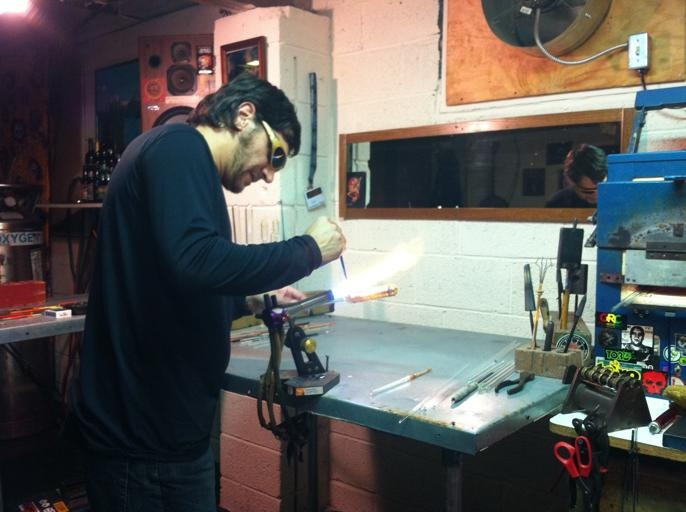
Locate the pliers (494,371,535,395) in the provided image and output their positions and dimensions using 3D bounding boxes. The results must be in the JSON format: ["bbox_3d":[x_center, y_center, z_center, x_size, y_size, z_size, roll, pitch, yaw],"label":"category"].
[{"bbox_3d":[0.566,0.408,1.877,0.055,0.020,0.140,2,10,45],"label":"pliers"}]

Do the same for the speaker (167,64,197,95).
[{"bbox_3d":[-0.944,-1.040,3.399,0.176,0.177,0.057,17,7,8],"label":"speaker"}]

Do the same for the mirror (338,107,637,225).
[{"bbox_3d":[0.603,-0.372,2.602,1.110,0.448,0.044,8,8,37],"label":"mirror"}]
